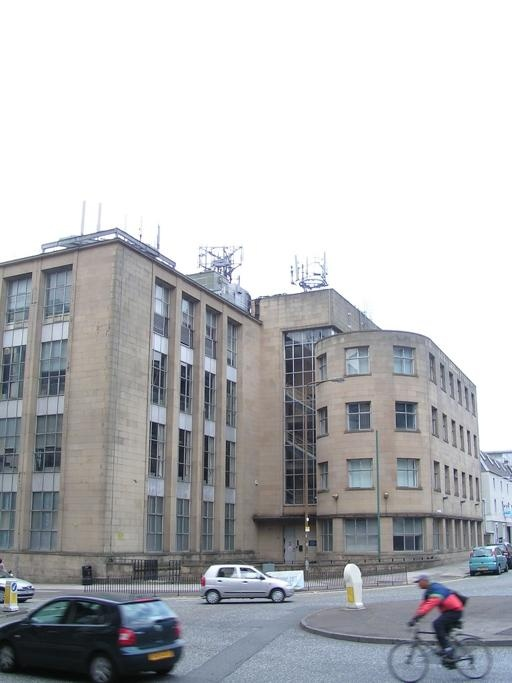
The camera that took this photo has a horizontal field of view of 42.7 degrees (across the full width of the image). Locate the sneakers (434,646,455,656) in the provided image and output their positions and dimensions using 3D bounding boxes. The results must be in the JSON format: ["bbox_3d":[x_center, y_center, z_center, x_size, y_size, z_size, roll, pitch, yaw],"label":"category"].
[{"bbox_3d":[2.629,4.317,9.131,0.242,0.129,0.086,-16,-23,37],"label":"sneakers"}]

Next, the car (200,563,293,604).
[{"bbox_3d":[-0.507,9.726,26.290,3.180,1.278,1.663,-1,-13,2],"label":"car"}]
